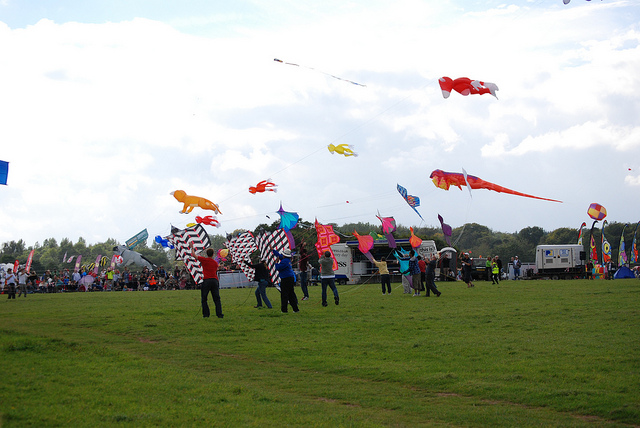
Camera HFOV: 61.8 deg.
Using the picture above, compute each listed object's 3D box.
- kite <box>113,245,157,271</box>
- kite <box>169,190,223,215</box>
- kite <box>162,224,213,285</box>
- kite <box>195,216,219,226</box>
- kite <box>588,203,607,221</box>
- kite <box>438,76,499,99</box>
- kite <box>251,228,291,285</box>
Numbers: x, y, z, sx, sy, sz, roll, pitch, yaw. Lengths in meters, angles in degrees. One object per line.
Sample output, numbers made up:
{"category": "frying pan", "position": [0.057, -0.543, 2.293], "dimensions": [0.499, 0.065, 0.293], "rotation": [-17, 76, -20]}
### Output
{"category": "kite", "position": [-16.429, 3.506, 45.749], "dimensions": [2.572, 1.664, 3.574], "rotation": [1, -2, -20]}
{"category": "kite", "position": [-6.172, -0.570, 25.488], "dimensions": [3.137, 1.243, 1.100], "rotation": [8, -4, -6]}
{"category": "kite", "position": [-4.787, 1.447, 19.588], "dimensions": [1.094, 2.183, 1.306], "rotation": [2, -2, -38]}
{"category": "kite", "position": [-5.554, 0.333, 25.915], "dimensions": [1.387, 0.534, 0.455], "rotation": [-4, -14, 16]}
{"category": "kite", "position": [19.478, -0.090, 37.308], "dimensions": [1.157, 0.893, 0.874], "rotation": [5, -49, -18]}
{"category": "kite", "position": [5.523, -4.787, 19.991], "dimensions": [1.919, 0.981, 1.583], "rotation": [0, -1, 11]}
{"category": "kite", "position": [-1.965, 1.766, 21.977], "dimensions": [1.006, 2.272, 3.068], "rotation": [1, -1, -19]}
